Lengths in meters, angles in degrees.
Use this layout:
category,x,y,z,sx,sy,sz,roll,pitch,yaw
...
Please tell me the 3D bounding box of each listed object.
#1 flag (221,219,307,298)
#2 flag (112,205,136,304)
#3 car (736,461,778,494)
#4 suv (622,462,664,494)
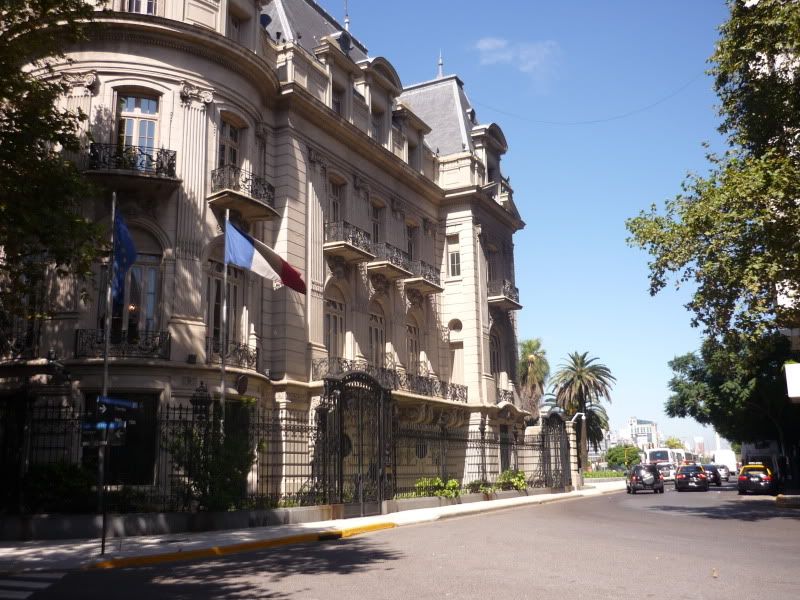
category,x,y,z,sx,sy,sz,roll,pitch,yaw
flag,-5.345,-1.556,28.495,0.228,1.748,2.663,-20,-38,28
flag,-8.262,-1.273,22.122,0.365,2.706,0.798,-4,-14,15
car,19.394,9.688,40.738,1.582,1.633,2.005,-15,-21,42
suv,15.038,11.133,46.374,1.411,1.559,2.726,-1,-29,4
